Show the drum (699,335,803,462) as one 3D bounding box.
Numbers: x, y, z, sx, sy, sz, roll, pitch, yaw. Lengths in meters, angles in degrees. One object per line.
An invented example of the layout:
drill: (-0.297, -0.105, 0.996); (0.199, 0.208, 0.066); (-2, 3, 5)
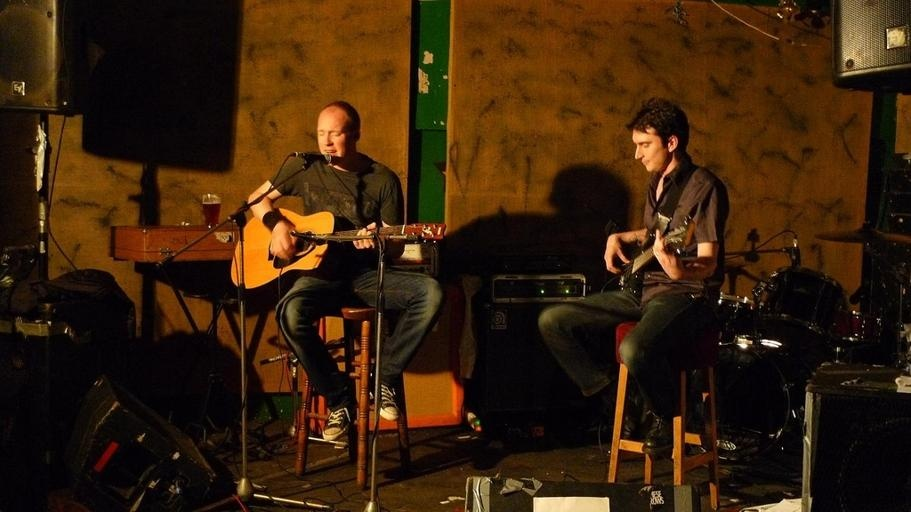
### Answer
drum: (2.478, 1.099, 7.889); (0.713, 0.769, 0.557); (-1, 19, 22)

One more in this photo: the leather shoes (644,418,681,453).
leather shoes: (1.519, 1.325, 6.997); (0.229, 0.268, 0.112); (-1, -2, 1)

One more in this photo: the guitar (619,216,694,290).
guitar: (1.512, -0.036, 7.112); (0.306, 0.572, 0.841); (0, -2, -9)

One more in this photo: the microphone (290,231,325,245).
microphone: (-1.138, -0.138, 7.261); (0.249, 0.105, 0.065); (-1, -2, 9)

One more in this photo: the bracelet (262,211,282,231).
bracelet: (-1.461, -0.296, 7.440); (0.154, 0.156, 0.037); (27, -30, 20)

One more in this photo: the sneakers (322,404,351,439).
sneakers: (-0.933, 1.281, 7.348); (0.170, 0.183, 0.465); (-2, 11, 8)

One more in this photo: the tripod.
tripod: (-1.341, 0.754, 7.252); (0.805, 2.255, 0.991); (0, -2, -14)

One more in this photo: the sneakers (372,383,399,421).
sneakers: (-0.555, 1.143, 7.396); (0.155, 0.173, 0.448); (16, 3, -27)
